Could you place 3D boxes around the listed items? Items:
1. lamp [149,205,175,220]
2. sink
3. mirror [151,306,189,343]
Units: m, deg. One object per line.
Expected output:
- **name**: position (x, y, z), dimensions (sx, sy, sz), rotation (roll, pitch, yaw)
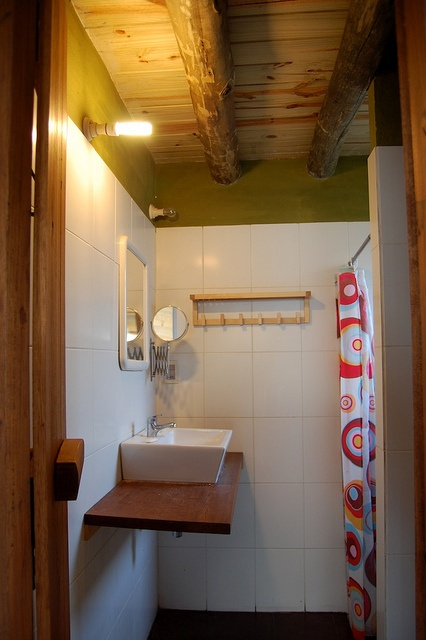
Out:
- **lamp**: position (-0.279, -0.605, 2.784), dimensions (0.146, 0.098, 0.143), rotation (0, -4, -5)
- **sink**: position (-0.147, 0.580, 2.173), dimensions (0.421, 0.162, 0.509), rotation (-1, -4, 6)
- **mirror**: position (-0.229, 0.021, 2.587), dimensions (0.145, 0.216, 0.024), rotation (1, -9, -12)
